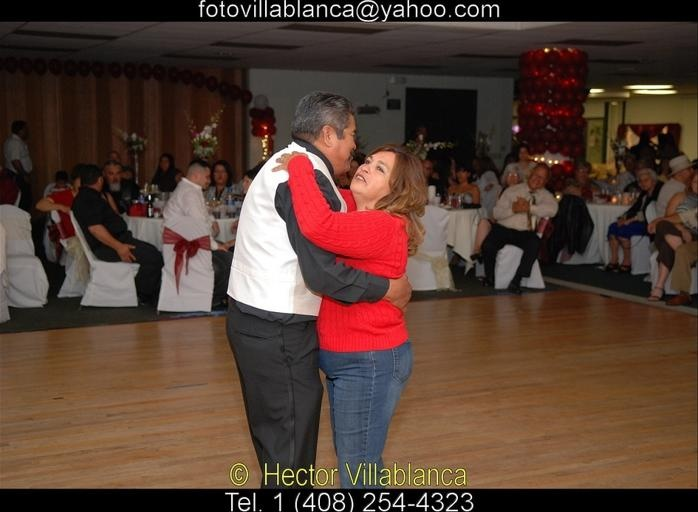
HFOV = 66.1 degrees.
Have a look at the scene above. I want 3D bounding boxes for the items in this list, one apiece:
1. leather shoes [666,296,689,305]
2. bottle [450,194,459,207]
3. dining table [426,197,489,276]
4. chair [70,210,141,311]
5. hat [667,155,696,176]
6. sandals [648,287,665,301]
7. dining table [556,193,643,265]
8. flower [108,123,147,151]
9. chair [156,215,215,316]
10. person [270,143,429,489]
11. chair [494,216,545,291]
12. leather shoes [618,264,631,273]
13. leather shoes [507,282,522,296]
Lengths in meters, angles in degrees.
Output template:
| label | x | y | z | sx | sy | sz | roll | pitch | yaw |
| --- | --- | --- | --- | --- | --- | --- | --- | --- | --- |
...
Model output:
| label | x | y | z | sx | sy | sz | roll | pitch | yaw |
| --- | --- | --- | --- | --- | --- | --- | --- | --- | --- |
| leather shoes | 3.782 | 0.504 | 6.175 | 0.197 | 0.117 | 0.226 | 8 | 13 | 36 |
| bottle | 1.505 | -0.787 | 7.664 | 0.115 | 0.163 | 0.060 | -5 | -12 | 25 |
| dining table | 1.251 | -0.276 | 7.260 | 0.869 | 0.837 | 0.841 | -7 | 15 | -31 |
| chair | -2.895 | 0.042 | 6.629 | 0.970 | 1.389 | 1.002 | -1 | 5 | -16 |
| hat | 4.336 | -1.201 | 7.064 | 0.260 | 0.107 | 0.295 | -33 | 1 | -13 |
| sandals | 3.656 | 0.459 | 6.373 | 0.144 | 0.123 | 0.406 | -2 | 0 | 32 |
| dining table | 3.960 | -0.331 | 8.485 | 0.893 | 0.869 | 0.891 | 6 | 8 | 41 |
| flower | -4.582 | -2.430 | 11.001 | 0.837 | 0.397 | 0.939 | 6 | -9 | -17 |
| chair | -1.802 | 0.080 | 5.891 | 0.600 | 1.081 | 0.294 | -3 | 12 | -15 |
| person | 0.044 | 0.243 | 1.991 | 0.529 | 1.271 | 0.261 | -6 | 13 | -28 |
| chair | 2.221 | 0.110 | 7.046 | 0.603 | 0.884 | 0.620 | 7 | 2 | 0 |
| leather shoes | 4.076 | 0.212 | 7.961 | 0.215 | 0.086 | 0.082 | 4 | -1 | -21 |
| leather shoes | 2.125 | 0.412 | 6.914 | 0.154 | 0.230 | 0.176 | -3 | 4 | -20 |
